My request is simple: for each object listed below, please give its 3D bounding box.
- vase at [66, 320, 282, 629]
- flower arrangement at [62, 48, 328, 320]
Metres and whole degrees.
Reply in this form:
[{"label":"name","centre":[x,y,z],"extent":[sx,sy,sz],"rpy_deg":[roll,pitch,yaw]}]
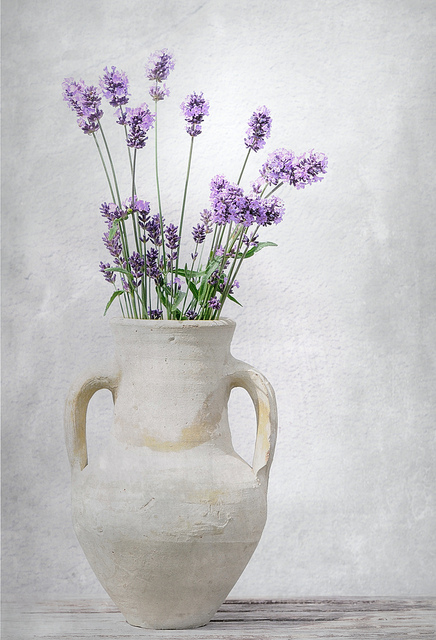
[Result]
[{"label":"vase","centre":[-0.079,0.235,1.269],"extent":[0.346,0.448,0.306],"rpy_deg":[1,-1,2]},{"label":"flower arrangement","centre":[-0.041,-0.132,1.297],"extent":[0.344,0.377,0.269],"rpy_deg":[13,24,34]}]
